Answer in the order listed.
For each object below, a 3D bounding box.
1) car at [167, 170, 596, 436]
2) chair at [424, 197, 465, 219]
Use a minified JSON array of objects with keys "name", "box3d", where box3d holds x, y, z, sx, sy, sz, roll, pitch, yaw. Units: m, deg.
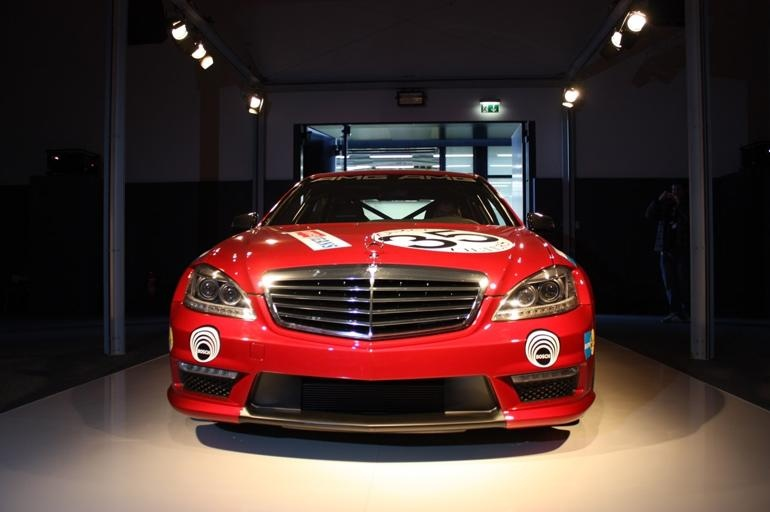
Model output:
[{"name":"car","box3d":[0.057,0.394,4.299,1.803,1.108,2.887,-1,-6,5]},{"name":"chair","box3d":[0.498,-0.391,4.075,0.225,0.126,0.330,1,1,4]}]
